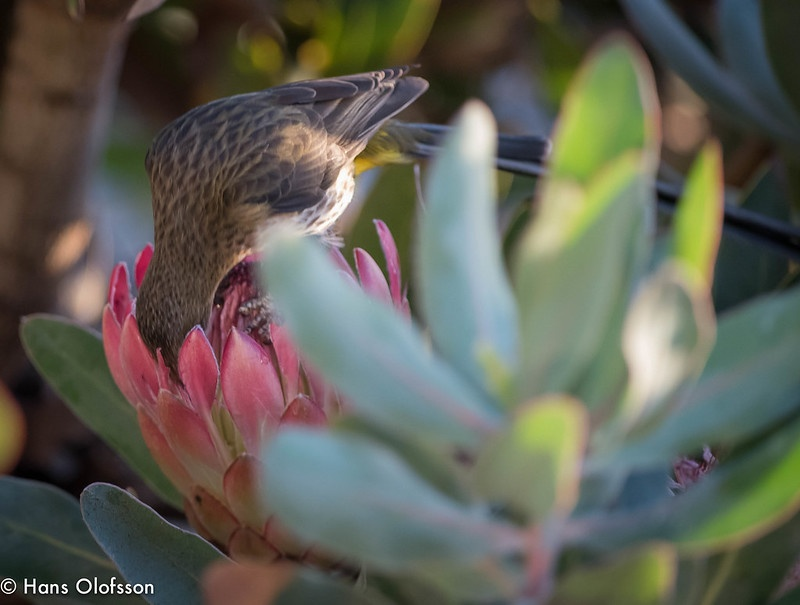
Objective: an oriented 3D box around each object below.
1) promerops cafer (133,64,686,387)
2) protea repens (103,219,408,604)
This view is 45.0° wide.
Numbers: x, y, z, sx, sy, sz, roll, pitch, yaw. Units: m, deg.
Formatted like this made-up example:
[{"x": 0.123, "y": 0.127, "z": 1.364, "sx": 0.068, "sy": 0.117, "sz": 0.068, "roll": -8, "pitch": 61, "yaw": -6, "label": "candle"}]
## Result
[{"x": -0.041, "y": -0.092, "z": 0.664, "sx": 0.136, "sy": 0.407, "sz": 0.177, "roll": -31, "pitch": 102, "yaw": -57, "label": "promerops cafer"}, {"x": -0.119, "y": 0.046, "z": 0.565, "sx": 0.142, "sy": 0.163, "sz": 0.134, "roll": 9, "pitch": 7, "yaw": 11, "label": "protea repens"}]
